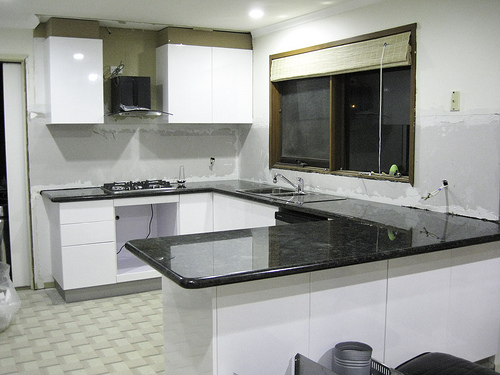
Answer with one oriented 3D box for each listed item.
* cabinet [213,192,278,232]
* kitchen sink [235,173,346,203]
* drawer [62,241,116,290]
[{"bbox_3d":[0.053,0.310,4.447,0.641,0.417,0.769,-3,9,-33],"label":"cabinet"},{"bbox_3d":[0.382,-0.020,4.260,0.696,0.249,1.170,-5,10,-34],"label":"kitchen sink"},{"bbox_3d":[-1.738,0.774,4.227,0.484,0.474,0.372,-2,8,-33],"label":"drawer"}]
